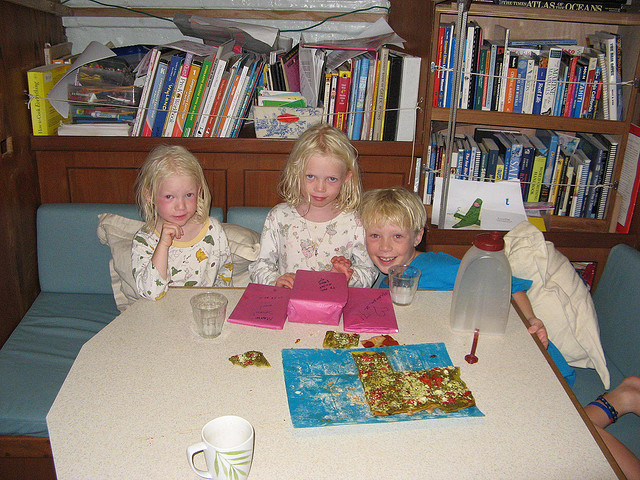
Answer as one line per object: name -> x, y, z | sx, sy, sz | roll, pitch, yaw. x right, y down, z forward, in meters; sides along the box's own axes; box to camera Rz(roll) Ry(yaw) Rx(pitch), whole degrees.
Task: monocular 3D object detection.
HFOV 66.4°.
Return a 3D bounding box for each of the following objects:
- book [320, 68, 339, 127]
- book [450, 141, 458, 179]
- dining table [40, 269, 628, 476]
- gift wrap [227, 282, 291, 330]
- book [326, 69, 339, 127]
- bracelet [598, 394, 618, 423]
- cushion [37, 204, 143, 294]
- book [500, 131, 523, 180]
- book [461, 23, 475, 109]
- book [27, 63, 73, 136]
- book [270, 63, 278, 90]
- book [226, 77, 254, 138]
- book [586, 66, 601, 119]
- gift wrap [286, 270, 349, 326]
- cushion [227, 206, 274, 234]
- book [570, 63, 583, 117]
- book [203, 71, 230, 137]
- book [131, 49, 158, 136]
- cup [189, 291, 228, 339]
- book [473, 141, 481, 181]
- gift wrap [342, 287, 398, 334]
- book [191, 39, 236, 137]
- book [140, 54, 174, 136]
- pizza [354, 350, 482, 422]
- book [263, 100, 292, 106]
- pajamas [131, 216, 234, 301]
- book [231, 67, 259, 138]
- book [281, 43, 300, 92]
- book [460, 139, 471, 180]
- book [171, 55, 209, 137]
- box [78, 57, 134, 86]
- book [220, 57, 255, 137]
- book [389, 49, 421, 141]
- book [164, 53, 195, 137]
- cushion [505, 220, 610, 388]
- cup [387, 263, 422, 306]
book -> 0.039, -0.682, 2.375 | 0.072, 0.278, 0.218 | 3, 14, -8
book -> 0.699, -0.423, 2.533 | 0.030, 0.137, 0.088 | 6, 19, 14
dining table -> 0.023, 0.312, 1.328 | 1.368, 0.258, 0.767 | 3, 17, 7
gift wrap -> -0.179, 0.203, 1.555 | 0.165, 0.021, 0.196 | 9, 34, 4
book -> 0.066, -0.688, 2.343 | 0.041, 0.251, 0.067 | 14, 23, 32
bracelet -> 1.004, 0.594, 1.719 | 0.023, 0.076, 0.077 | -36, 14, 3
cushion -> -1.143, 0.022, 2.403 | 0.615, 0.393, 0.120 | 2, 9, 0
book -> 0.984, -0.426, 2.517 | 0.080, 0.183, 0.191 | -5, 35, 5
book -> 0.710, -0.831, 2.358 | 0.044, 0.375, 0.038 | 7, 21, 17
book -> -1.321, -0.702, 2.381 | 0.117, 0.287, 0.315 | 4, 29, -12
book -> -0.221, -0.784, 2.351 | 0.035, 0.112, 0.012 | 3, 20, 7
book -> -0.388, -0.645, 2.346 | 0.034, 0.286, 0.220 | 27, 20, -2
book -> 1.340, -0.726, 2.392 | 0.026, 0.241, 0.065 | 11, 22, 25
gift wrap -> -0.003, 0.181, 1.553 | 0.178, 0.109, 0.193 | 2, 18, 3
cushion -> -0.339, -0.109, 2.293 | 0.226, 0.139, 0.117 | 1, 10, 1
book -> 1.253, -0.733, 2.394 | 0.031, 0.244, 0.054 | 7, 20, 16
book -> -0.492, -0.662, 2.321 | 0.035, 0.307, 0.237 | 24, 10, -16
book -> -0.822, -0.677, 2.304 | 0.039, 0.350, 0.288 | 19, 47, -18
cup -> -0.308, 0.228, 1.472 | 0.128, 0.124, 0.128 | 0, 0, 0
book -> 0.808, -0.397, 2.511 | 0.026, 0.140, 0.045 | 7, 20, 17
gift wrap -> 0.156, 0.202, 1.531 | 0.158, 0.195, 0.022 | 1, 30, 8
book -> -0.506, -0.709, 2.314 | 0.050, 0.412, 0.353 | 24, 23, -13
book -> -0.764, -0.696, 2.293 | 0.047, 0.315, 0.269 | 21, 38, -12
pizza -> 0.249, 0.373, 1.291 | 0.278, 0.062, 0.225 | -2, 17, -8
book -> -0.210, -0.642, 2.286 | 0.107, 0.025, 0.021 | -1, 19, -7
pajamas -> -0.550, 0.117, 2.021 | 0.420, 0.360, 0.234 | -10, 25, -31
book -> -0.360, -0.671, 2.341 | 0.029, 0.354, 0.043 | 17, 12, -40
book -> -0.134, -0.844, 2.388 | 0.029, 0.186, 0.214 | 21, -21, 11
book -> 0.759, -0.423, 2.561 | 0.054, 0.179, 0.170 | 6, 19, 14
book -> -0.616, -0.698, 2.303 | 0.048, 0.339, 0.298 | 23, 14, -15
box -> -1.006, -0.786, 2.301 | 0.203, 0.068, 0.138 | 1, 30, -4
book -> -0.400, -0.696, 2.328 | 0.040, 0.376, 0.276 | 23, 26, -8
book -> 0.405, -0.696, 2.343 | 0.119, 0.332, 0.341 | 0, 29, -6
book -> -0.660, -0.704, 2.298 | 0.040, 0.323, 0.278 | 19, 26, -15
cushion -> 0.891, 0.212, 1.934 | 0.214, 0.603, 0.487 | -18, -10, 6
cup -> 0.271, 0.141, 1.644 | 0.126, 0.123, 0.118 | 2, 17, -1
